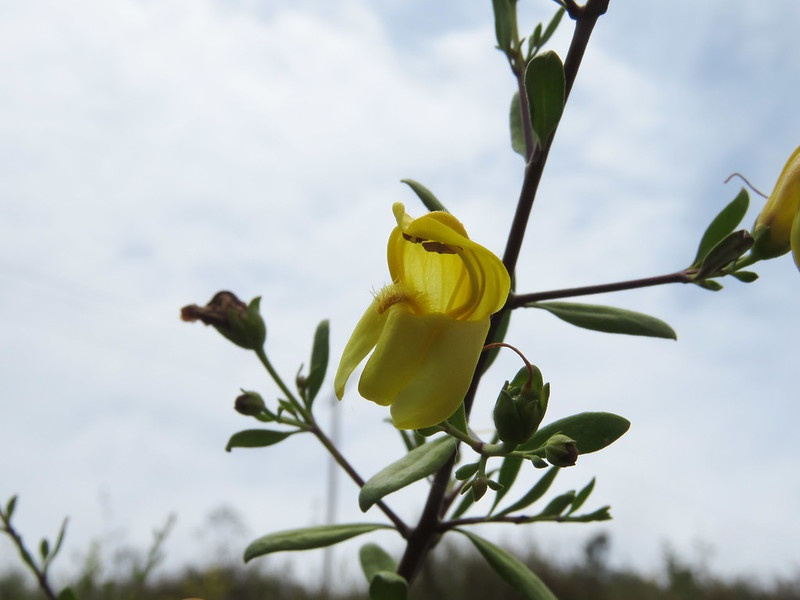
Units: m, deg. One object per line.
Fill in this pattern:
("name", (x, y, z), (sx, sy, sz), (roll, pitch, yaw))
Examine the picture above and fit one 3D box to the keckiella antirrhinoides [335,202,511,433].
("keckiella antirrhinoides", (0.075, 0.008, 1.937), (0.191, 0.331, 0.368), (21, -48, 28))
